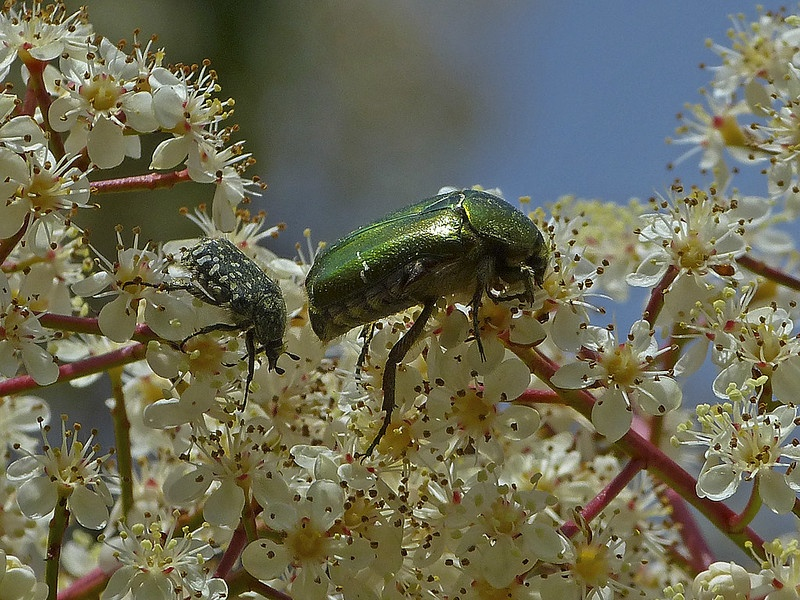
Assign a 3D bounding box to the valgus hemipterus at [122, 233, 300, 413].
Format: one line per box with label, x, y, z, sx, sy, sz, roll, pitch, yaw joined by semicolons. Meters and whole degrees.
valgus hemipterus;-0.601;-0.011;3.595;0.593;0.297;0.453;42;5;1
